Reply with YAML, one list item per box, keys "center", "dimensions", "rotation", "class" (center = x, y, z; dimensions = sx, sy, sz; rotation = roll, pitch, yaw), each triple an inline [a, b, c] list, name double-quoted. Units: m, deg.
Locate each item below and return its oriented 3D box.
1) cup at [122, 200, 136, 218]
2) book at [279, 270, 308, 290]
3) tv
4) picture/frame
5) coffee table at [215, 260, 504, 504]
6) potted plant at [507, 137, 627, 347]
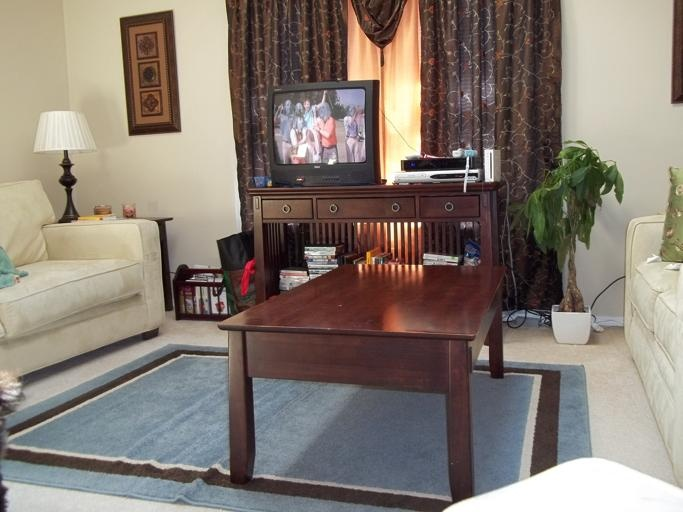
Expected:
- center: [-1.693, -0.373, 4.414]
  dimensions: [0.114, 0.180, 0.118]
  rotation: [-1, 8, 0]
  class: "cup"
- center: [-0.343, 0.149, 3.964]
  dimensions: [0.226, 0.142, 0.165]
  rotation: [4, 12, 8]
  class: "book"
- center: [-0.063, -0.781, 3.899]
  dimensions: [0.986, 0.908, 0.604]
  rotation: [1, 6, 15]
  class: "tv"
- center: [-1.546, -1.467, 4.454]
  dimensions: [0.511, 0.934, 0.093]
  rotation: [2, 12, 18]
  class: "picture/frame"
- center: [0.171, 0.434, 2.321]
  dimensions: [0.881, 0.608, 1.138]
  rotation: [3, 13, 21]
  class: "coffee table"
- center: [1.384, -0.100, 3.417]
  dimensions: [0.677, 1.203, 0.646]
  rotation: [-2, 11, 0]
  class: "potted plant"
